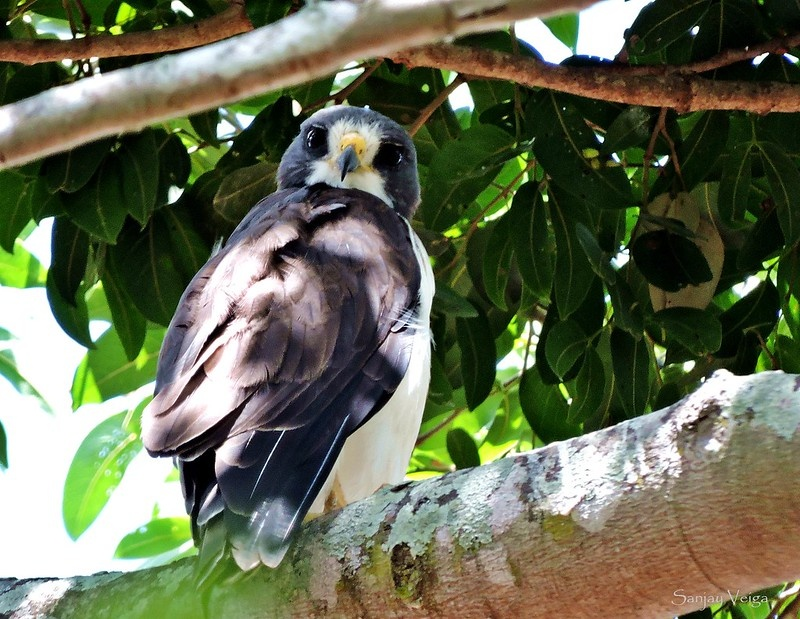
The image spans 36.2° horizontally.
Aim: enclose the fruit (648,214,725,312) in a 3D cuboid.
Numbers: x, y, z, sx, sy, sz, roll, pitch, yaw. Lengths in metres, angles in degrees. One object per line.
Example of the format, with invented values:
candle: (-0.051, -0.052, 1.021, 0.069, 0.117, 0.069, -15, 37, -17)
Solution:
fruit: (1.044, -0.158, 4.458, 0.080, 0.349, 0.231, 8, 13, 44)
